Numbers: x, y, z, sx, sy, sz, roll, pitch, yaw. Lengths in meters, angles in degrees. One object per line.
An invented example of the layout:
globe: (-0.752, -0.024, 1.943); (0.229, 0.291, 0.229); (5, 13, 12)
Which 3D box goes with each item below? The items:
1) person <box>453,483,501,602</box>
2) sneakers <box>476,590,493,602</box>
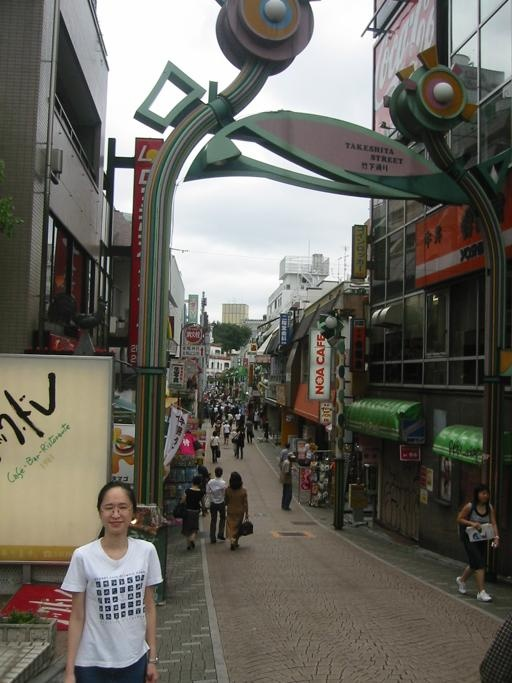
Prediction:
person: (3.080, 2.785, 8.938); (0.503, 1.540, 0.723); (0, -9, 21)
sneakers: (3.079, 3.431, 8.660); (0.098, 0.133, 0.285); (1, -17, -4)
